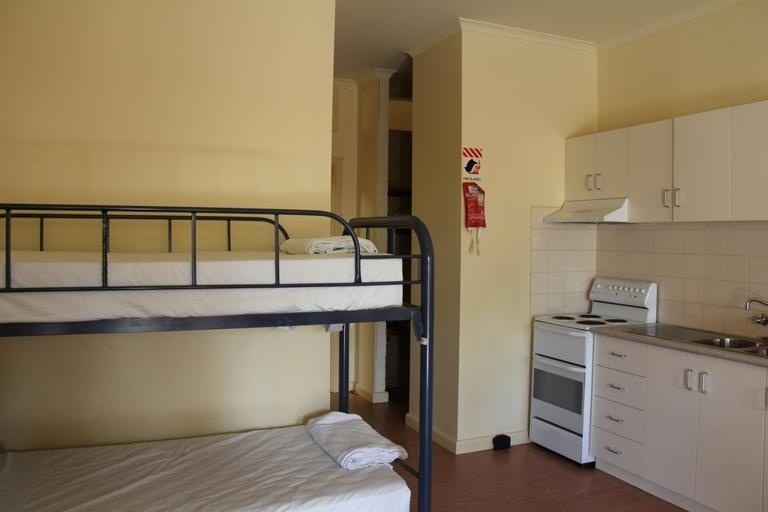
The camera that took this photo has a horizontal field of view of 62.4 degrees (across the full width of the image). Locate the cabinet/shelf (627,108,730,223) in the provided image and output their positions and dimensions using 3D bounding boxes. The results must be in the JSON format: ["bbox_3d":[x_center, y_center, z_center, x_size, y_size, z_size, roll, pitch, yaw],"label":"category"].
[{"bbox_3d":[2.281,-0.675,4.868,0.369,0.855,0.941,-4,3,-39],"label":"cabinet/shelf"}]

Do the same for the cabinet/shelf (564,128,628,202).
[{"bbox_3d":[1.821,-0.763,5.420,0.278,0.700,0.708,1,0,-35],"label":"cabinet/shelf"}]

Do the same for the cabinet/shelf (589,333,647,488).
[{"bbox_3d":[1.814,1.177,4.922,0.165,1.056,0.545,-10,13,-35],"label":"cabinet/shelf"}]

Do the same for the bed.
[{"bbox_3d":[-1.104,0.626,3.815,2.270,1.598,0.852,0,0,-17],"label":"bed"}]
